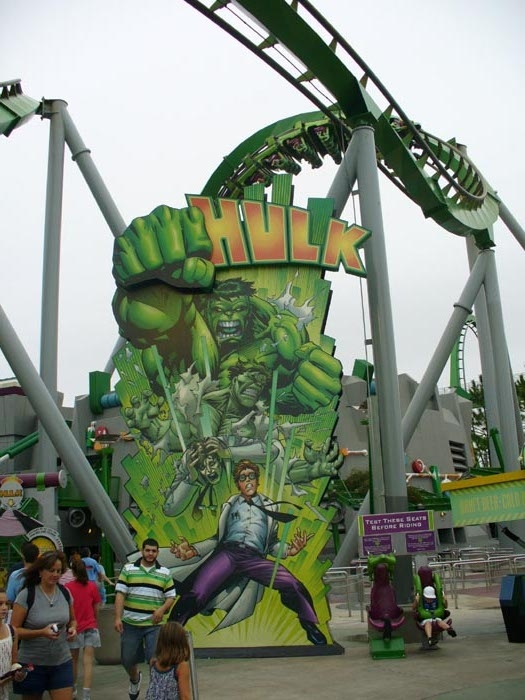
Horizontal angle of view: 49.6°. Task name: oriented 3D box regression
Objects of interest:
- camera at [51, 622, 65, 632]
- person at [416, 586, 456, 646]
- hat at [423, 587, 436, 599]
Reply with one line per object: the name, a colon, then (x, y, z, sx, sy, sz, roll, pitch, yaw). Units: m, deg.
camera: (-1.171, 1.579, 3.261, 0.056, 0.024, 0.097, 50, -23, -17)
person: (2.574, 4.006, 8.542, 0.466, 0.650, 1.024, -1, -9, 4)
hat: (2.547, 3.704, 8.657, 0.158, 0.098, 0.183, 0, -9, 4)
